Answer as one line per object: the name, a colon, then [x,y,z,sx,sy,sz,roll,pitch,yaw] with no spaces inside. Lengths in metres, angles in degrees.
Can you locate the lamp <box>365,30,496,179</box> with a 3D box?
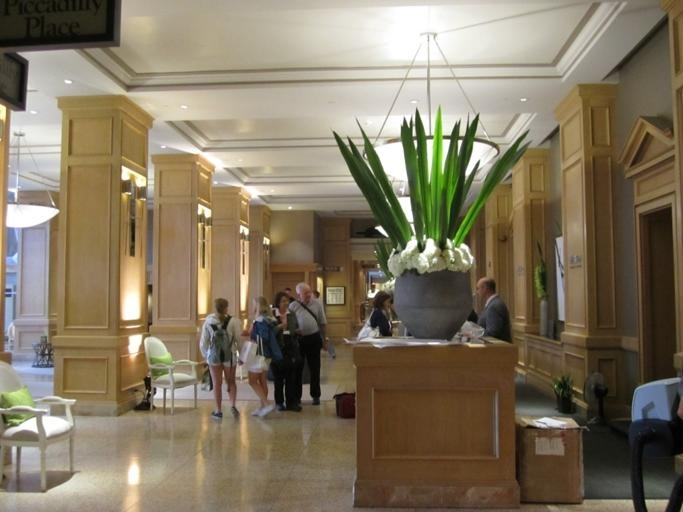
lamp: [1.055,-1.902,6.323,1.494,1.904,1.628,0,-11,-5]

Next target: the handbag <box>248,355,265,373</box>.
handbag: [-1.100,1.411,7.055,0.190,0.225,0.215,-3,-8,26]

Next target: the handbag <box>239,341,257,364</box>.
handbag: [-1.232,1.274,7.048,0.195,0.266,0.139,14,-21,4]

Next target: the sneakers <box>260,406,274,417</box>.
sneakers: [-0.999,2.036,7.132,0.091,0.112,0.251,-1,-36,-45]

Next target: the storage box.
storage box: [1.618,1.527,4.222,0.446,0.636,0.836,0,-4,10]

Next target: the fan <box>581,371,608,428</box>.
fan: [3.210,1.768,6.693,0.242,0.641,0.494,-5,-5,25]

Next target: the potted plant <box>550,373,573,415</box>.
potted plant: [3.107,1.907,7.404,0.242,0.510,0.325,-5,-5,24]

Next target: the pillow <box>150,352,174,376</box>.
pillow: [-2.589,1.544,7.595,0.105,0.254,0.317,6,3,25]

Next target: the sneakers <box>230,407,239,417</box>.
sneakers: [-1.446,2.083,7.164,0.054,0.068,0.176,-8,-51,10]

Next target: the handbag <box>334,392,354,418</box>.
handbag: [0.055,1.974,7.102,0.254,0.218,0.272,0,-9,-5]

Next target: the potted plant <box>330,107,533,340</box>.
potted plant: [0.658,-0.256,4.434,1.705,2.275,1.550,-1,1,1]

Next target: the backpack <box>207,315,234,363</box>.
backpack: [-1.584,1.116,6.979,0.287,0.535,0.500,1,-10,-3]
